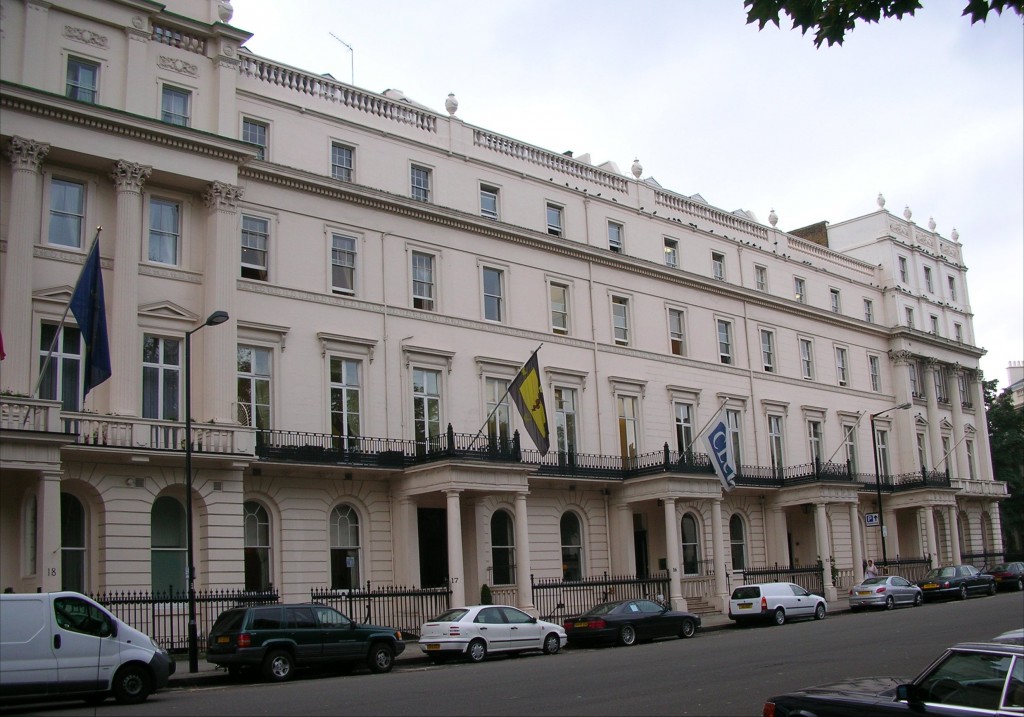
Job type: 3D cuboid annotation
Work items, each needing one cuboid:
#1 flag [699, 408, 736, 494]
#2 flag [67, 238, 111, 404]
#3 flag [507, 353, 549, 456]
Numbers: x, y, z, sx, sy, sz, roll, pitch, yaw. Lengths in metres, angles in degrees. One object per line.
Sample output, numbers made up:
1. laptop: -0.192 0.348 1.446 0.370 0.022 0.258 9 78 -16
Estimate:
1. flag: 9.197 3.829 48.669 1.580 4.961 0.471 16 -46 -10
2. flag: -13.350 -1.575 35.420 0.991 0.741 5.619 16 -61 6
3. flag: 0.813 1.776 43.472 0.794 3.633 2.268 -3 -3 3
